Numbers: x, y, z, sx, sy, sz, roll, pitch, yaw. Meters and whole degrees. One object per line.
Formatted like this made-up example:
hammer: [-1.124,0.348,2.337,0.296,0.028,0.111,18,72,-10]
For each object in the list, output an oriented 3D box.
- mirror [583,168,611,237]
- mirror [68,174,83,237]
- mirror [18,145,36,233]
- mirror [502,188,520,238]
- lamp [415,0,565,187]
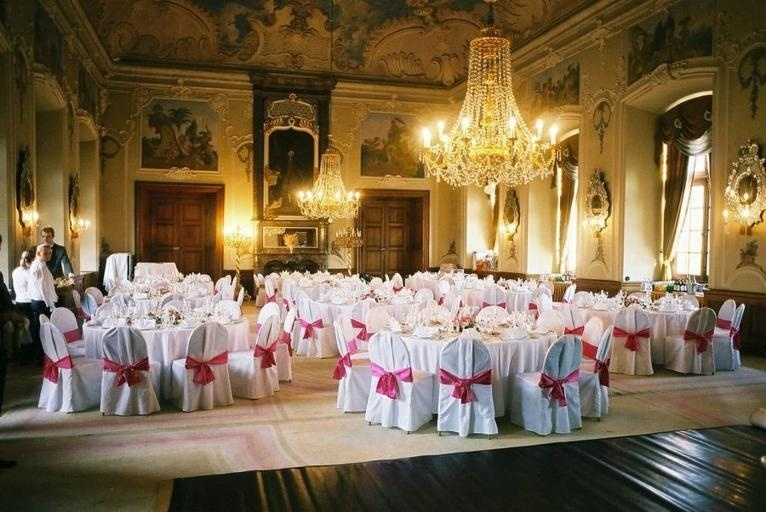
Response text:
mirror: [5.193,-1.310,14.020,0.127,1.364,0.744,0,0,-22]
mirror: [-7.750,-1.278,14.549,0.229,1.734,1.106,0,0,-25]
mirror: [-7.052,-1.316,11.450,0.178,1.922,0.768,0,0,-20]
mirror: [3.746,-1.238,16.903,0.129,1.368,0.839,0,0,-19]
lamp: [1.865,-2.724,10.166,1.630,3.018,1.747,0,0,13]
